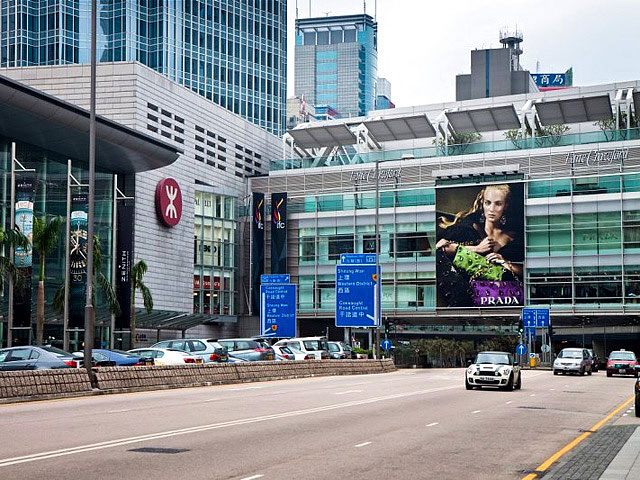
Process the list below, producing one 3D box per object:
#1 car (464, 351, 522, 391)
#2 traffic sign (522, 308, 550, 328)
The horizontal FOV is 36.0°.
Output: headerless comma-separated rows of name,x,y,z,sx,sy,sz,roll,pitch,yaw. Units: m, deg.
car,7.666,5.738,43.069,2.333,1.697,2.695,-3,-4,21
traffic sign,16.760,6.011,76.664,1.519,1.091,0.109,-1,0,20
